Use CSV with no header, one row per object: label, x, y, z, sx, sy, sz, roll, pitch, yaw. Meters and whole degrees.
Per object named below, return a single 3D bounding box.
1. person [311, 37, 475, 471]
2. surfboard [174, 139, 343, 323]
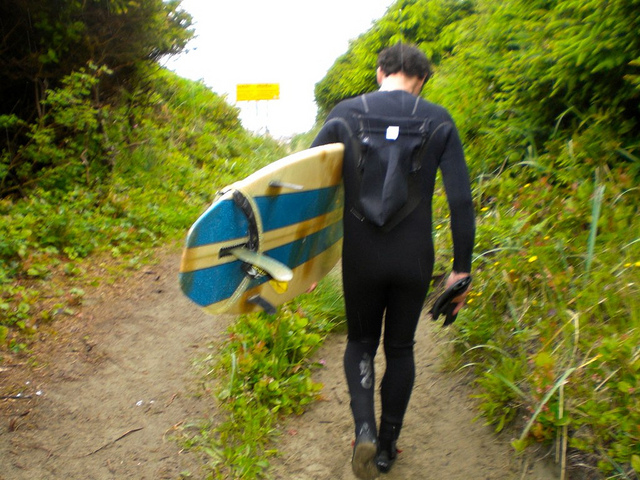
person,0.408,0.166,2.860,0.923,2.323,0.419,8,3,-16
surfboard,-0.248,-0.048,3.146,0.375,0.883,1.622,3,23,45
